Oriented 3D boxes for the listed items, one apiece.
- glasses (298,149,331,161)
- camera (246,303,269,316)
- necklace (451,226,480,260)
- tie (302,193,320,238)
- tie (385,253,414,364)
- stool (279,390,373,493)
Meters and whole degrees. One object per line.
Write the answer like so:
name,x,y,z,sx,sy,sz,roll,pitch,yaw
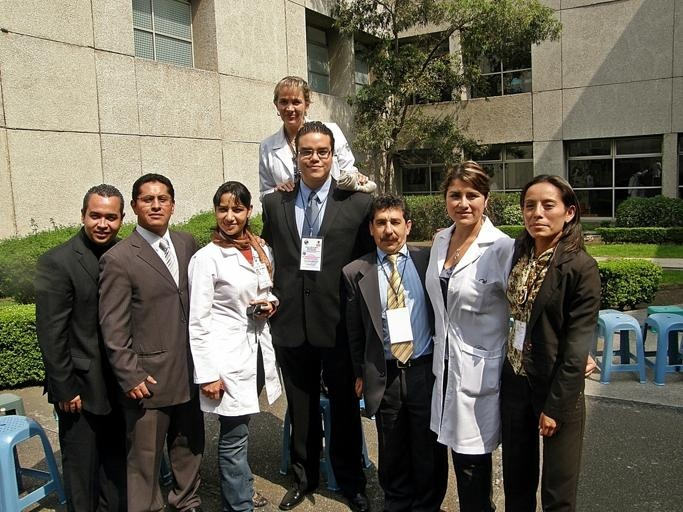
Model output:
glasses,-0.217,-0.825,4.884,0.257,0.080,0.065,-1,6,4
camera,-0.689,0.446,4.953,0.135,0.056,0.105,-8,-27,6
necklace,0.934,-0.082,4.574,0.057,0.252,0.171,20,13,-34
tie,-0.250,-0.349,5.038,0.141,0.374,0.147,-6,8,-40
tie,0.453,0.411,4.711,0.203,0.835,0.245,-1,6,5
stool,-0.157,1.631,5.386,0.716,0.823,0.800,-1,-10,-1
